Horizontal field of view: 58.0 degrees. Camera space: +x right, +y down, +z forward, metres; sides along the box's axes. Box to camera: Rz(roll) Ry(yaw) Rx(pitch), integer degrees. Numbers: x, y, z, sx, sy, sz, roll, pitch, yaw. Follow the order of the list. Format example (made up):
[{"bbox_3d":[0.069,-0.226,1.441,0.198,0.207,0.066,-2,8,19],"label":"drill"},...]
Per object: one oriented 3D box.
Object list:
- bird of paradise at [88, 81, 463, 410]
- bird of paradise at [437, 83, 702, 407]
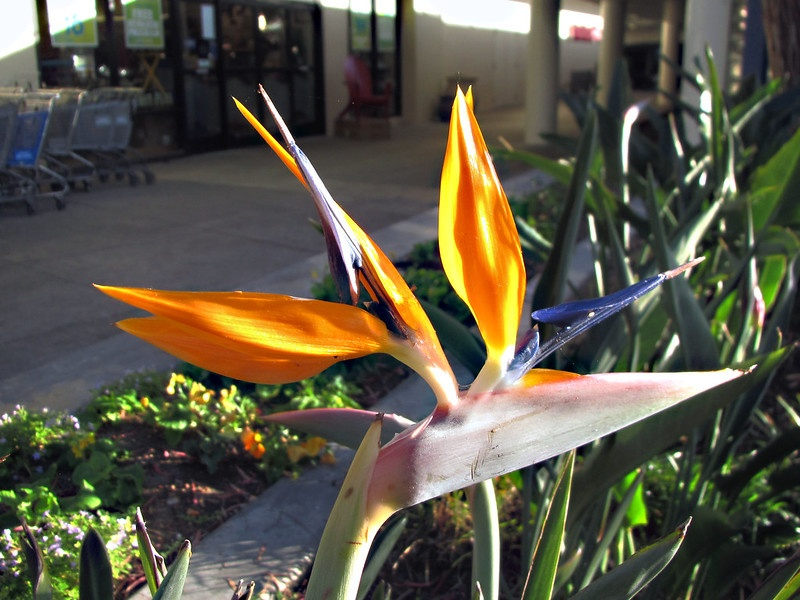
[{"bbox_3d":[-0.155,-0.054,0.970,0.462,0.420,0.121,-2,11,1],"label":"bird of paradise"},{"bbox_3d":[0.269,-0.075,1.131,0.364,0.391,0.380,-1,4,17],"label":"bird of paradise"}]
